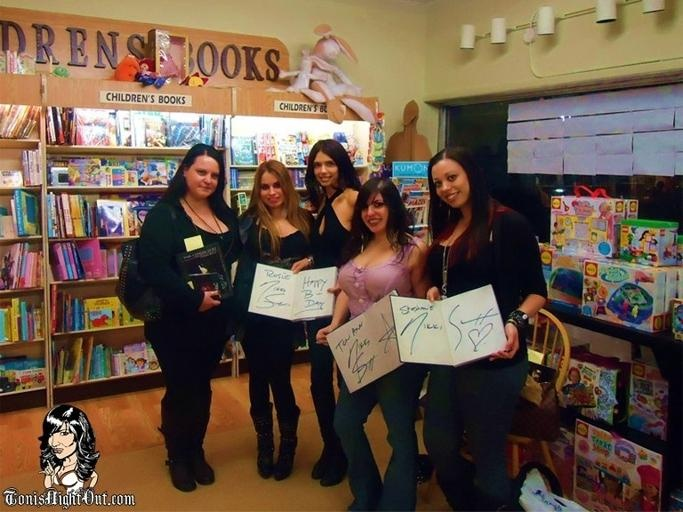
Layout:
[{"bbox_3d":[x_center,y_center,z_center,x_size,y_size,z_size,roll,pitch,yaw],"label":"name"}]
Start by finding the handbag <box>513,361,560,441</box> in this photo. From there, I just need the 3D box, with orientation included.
[{"bbox_3d":[1.112,0.796,2.761,0.302,0.435,0.125,8,-7,11],"label":"handbag"}]

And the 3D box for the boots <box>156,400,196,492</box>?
[{"bbox_3d":[-1.114,1.184,3.166,0.202,0.428,0.616,-5,20,-21],"label":"boots"}]

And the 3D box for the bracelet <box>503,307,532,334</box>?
[{"bbox_3d":[0.861,0.311,2.337,0.127,0.108,0.094,20,-11,-25],"label":"bracelet"}]

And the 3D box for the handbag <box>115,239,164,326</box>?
[{"bbox_3d":[-1.178,0.162,2.982,0.350,0.683,0.536,-1,-3,-22],"label":"handbag"}]

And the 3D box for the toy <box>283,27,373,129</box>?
[{"bbox_3d":[-0.150,-1.824,4.839,0.913,0.731,1.016,2,19,-12],"label":"toy"}]

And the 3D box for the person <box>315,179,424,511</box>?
[{"bbox_3d":[0.193,0.554,2.642,0.541,1.947,0.434,1,9,7],"label":"person"}]

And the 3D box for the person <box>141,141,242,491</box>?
[{"bbox_3d":[-0.904,0.398,2.962,0.583,2.142,0.373,-3,9,-13],"label":"person"}]

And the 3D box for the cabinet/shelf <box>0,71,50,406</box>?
[{"bbox_3d":[-2.467,-0.097,3.969,0.322,2.700,0.371,-5,10,-29],"label":"cabinet/shelf"}]

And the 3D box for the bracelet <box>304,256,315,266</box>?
[{"bbox_3d":[-0.199,0.025,3.045,0.029,0.050,0.082,5,11,33],"label":"bracelet"}]

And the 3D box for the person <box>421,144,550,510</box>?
[{"bbox_3d":[0.694,0.442,2.446,0.616,1.962,0.456,4,9,25],"label":"person"}]

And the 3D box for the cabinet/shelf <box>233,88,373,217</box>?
[{"bbox_3d":[-0.361,-0.916,4.024,1.357,1.356,0.571,0,-2,-21],"label":"cabinet/shelf"}]
